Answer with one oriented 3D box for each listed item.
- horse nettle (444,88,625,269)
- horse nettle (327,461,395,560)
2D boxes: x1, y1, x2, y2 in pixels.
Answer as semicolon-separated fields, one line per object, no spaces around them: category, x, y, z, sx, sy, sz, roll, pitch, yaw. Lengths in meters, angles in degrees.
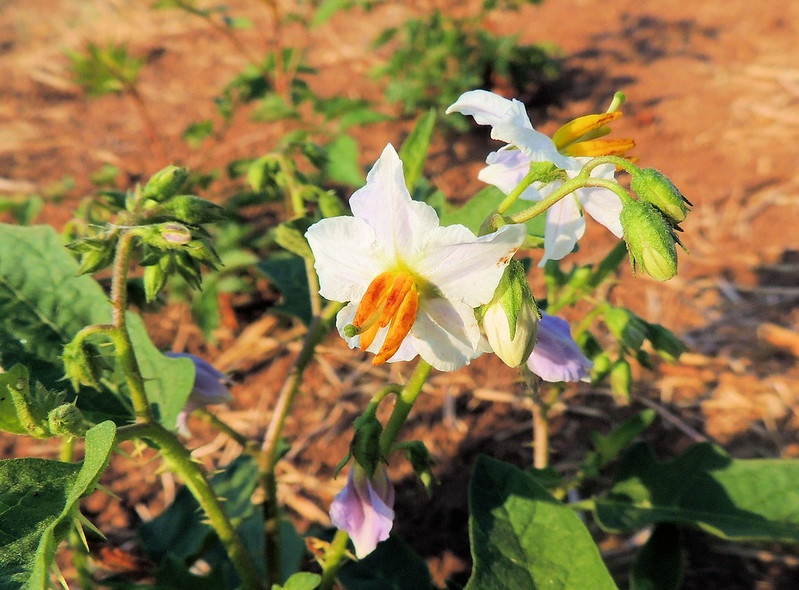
horse nettle;0.520;-0.422;3.169;0.505;0.155;0.514;-23;-7;-3
horse nettle;-0.140;0.711;3.158;0.250;0.124;0.423;-43;30;17
